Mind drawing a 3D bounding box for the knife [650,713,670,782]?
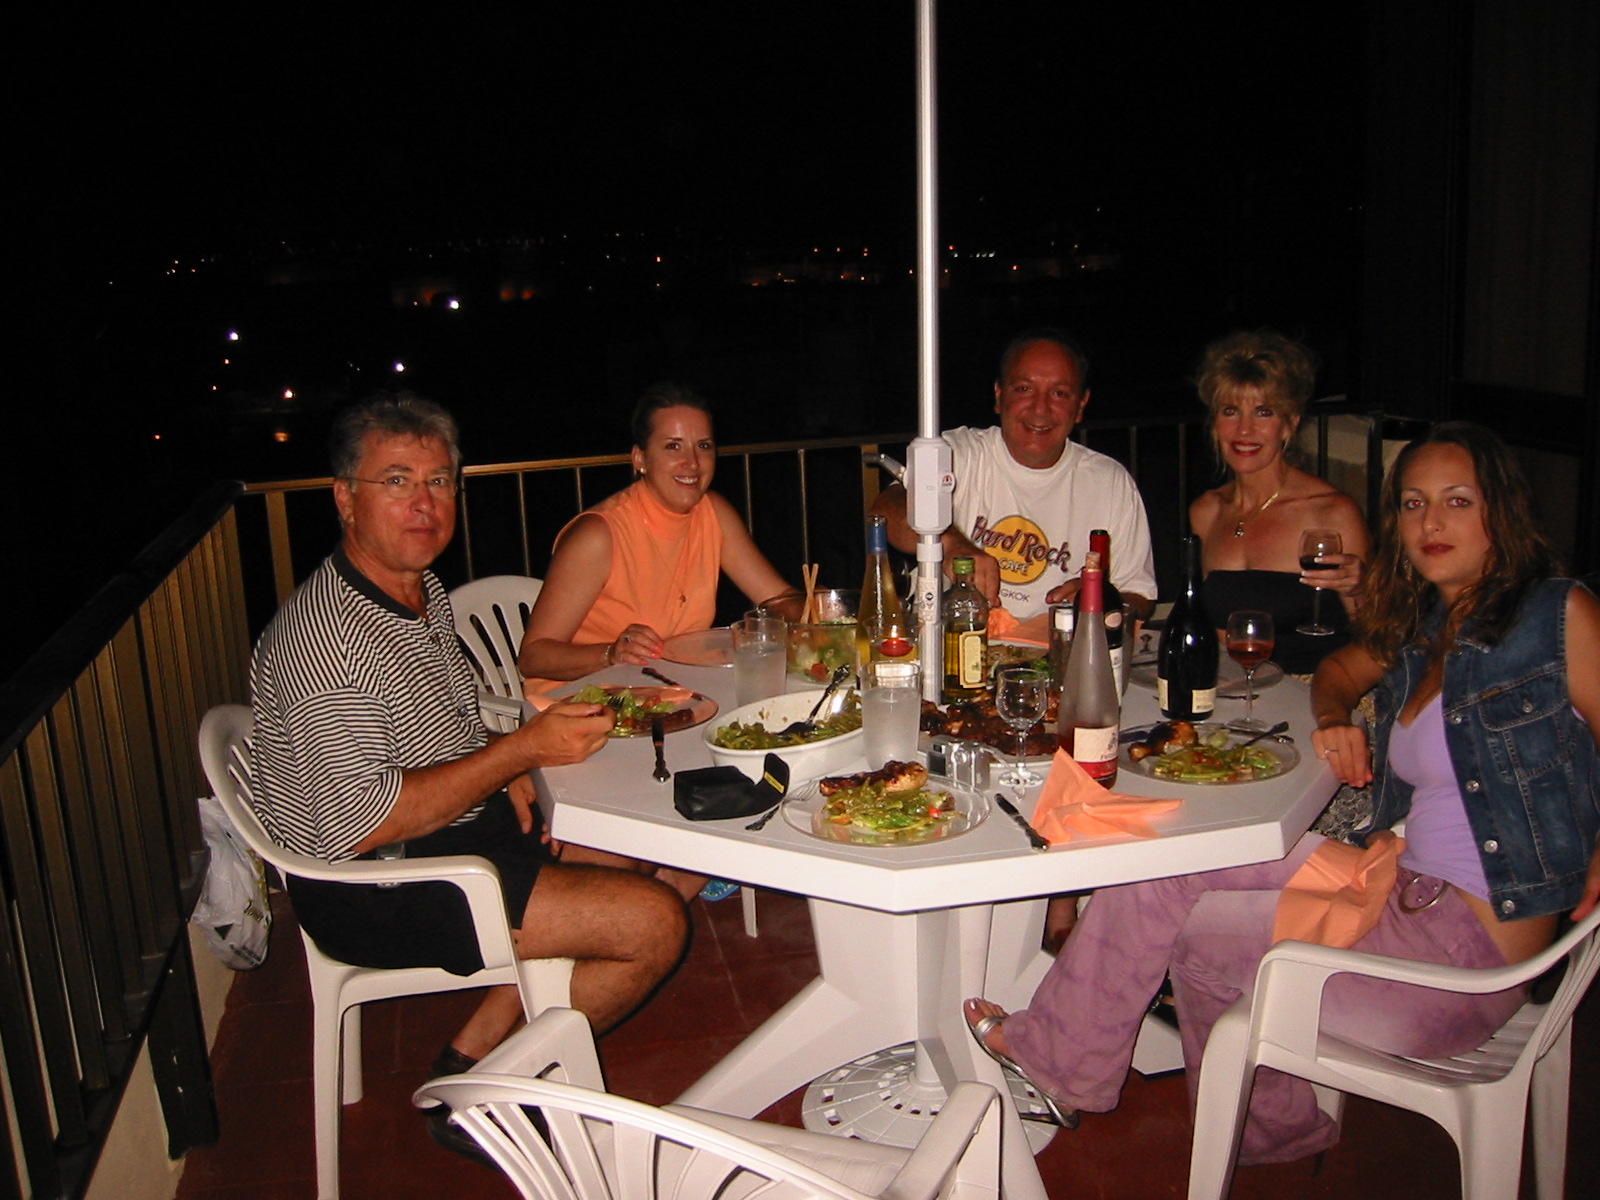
[{"bbox_3d":[-0.286,0.288,2.304,0.032,0.149,0.040,-6,-20,-2],"label":"knife"}]

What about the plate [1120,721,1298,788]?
[{"bbox_3d":[0.805,0.304,2.243,0.183,0.026,0.186,-5,14,-6],"label":"plate"}]

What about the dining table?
[{"bbox_3d":[0.277,0.628,2.256,1.171,0.717,1.189,-2,11,-5],"label":"dining table"}]

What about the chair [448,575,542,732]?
[{"bbox_3d":[-0.904,0.162,3.407,0.275,0.391,0.316,16,27,28],"label":"chair"}]

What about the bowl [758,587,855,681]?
[{"bbox_3d":[0.045,0.090,2.872,0.211,0.103,0.218,-2,11,0],"label":"bowl"}]

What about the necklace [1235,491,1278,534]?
[{"bbox_3d":[1.440,-0.273,3.615,0.098,0.137,0.050,21,42,-1],"label":"necklace"}]

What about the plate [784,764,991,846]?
[{"bbox_3d":[0.152,0.355,2.079,0.374,0.088,0.236,-3,10,3],"label":"plate"}]

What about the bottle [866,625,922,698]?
[{"bbox_3d":[0.190,0.129,2.285,0.105,0.120,0.105,-1,4,-22],"label":"bottle"}]
